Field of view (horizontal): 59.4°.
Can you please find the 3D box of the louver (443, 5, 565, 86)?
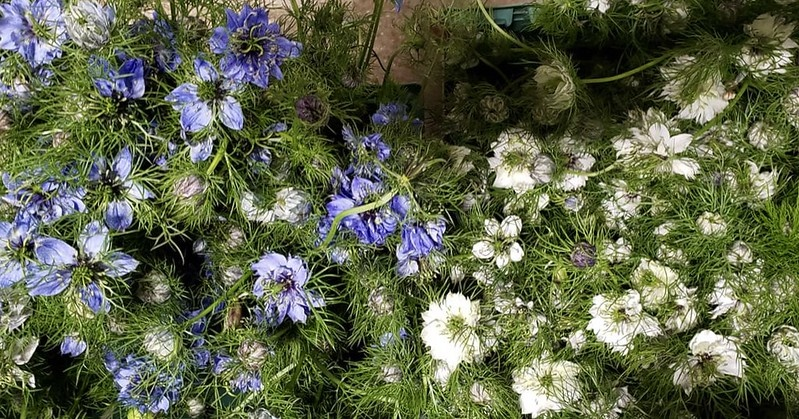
[{"bbox_3d":[0.185,-0.371,1.471,0.169,0.077,0.158,-34,70,-15],"label":"louver"}]
